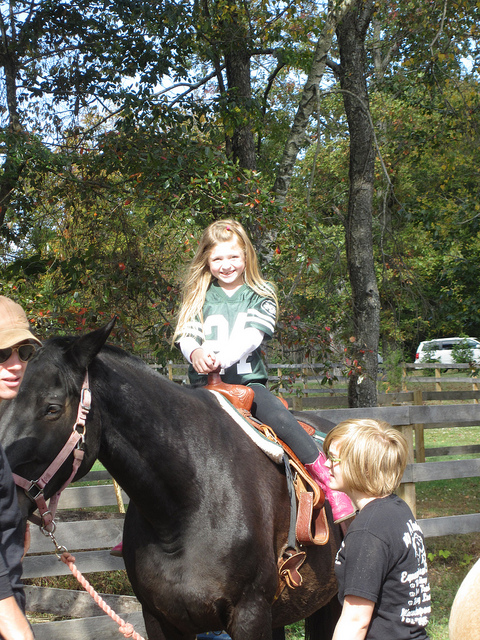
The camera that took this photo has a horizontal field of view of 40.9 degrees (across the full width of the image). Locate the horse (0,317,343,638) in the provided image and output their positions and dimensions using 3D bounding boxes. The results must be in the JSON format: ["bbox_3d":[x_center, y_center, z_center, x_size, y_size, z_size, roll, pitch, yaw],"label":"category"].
[{"bbox_3d":[-0.184,0.690,2.409,0.554,1.369,1.383,0,1,42],"label":"horse"}]

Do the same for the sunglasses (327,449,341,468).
[{"bbox_3d":[0.308,0.468,2.153,0.015,0.032,0.086,-17,18,-23],"label":"sunglasses"}]
